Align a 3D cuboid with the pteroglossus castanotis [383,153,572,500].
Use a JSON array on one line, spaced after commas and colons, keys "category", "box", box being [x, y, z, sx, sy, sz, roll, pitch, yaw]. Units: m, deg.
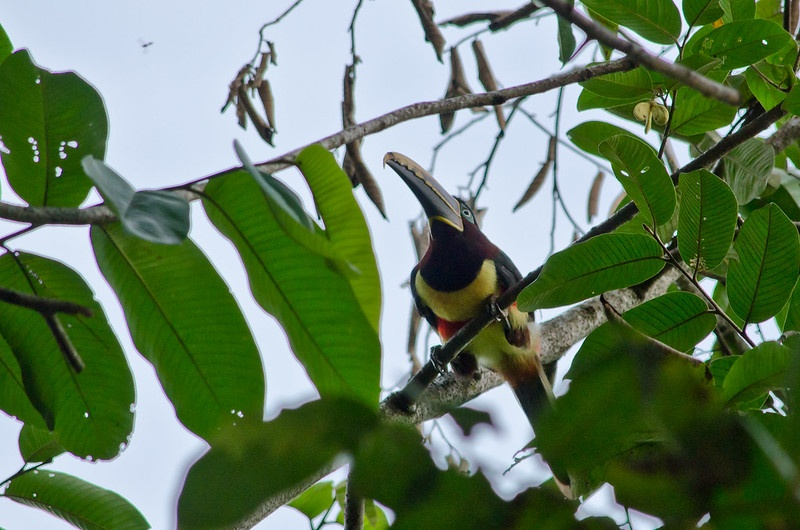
[{"category": "pteroglossus castanotis", "box": [0.317, 0.108, 5.070, 0.428, 1.411, 0.703, 31, -97, -25]}]
